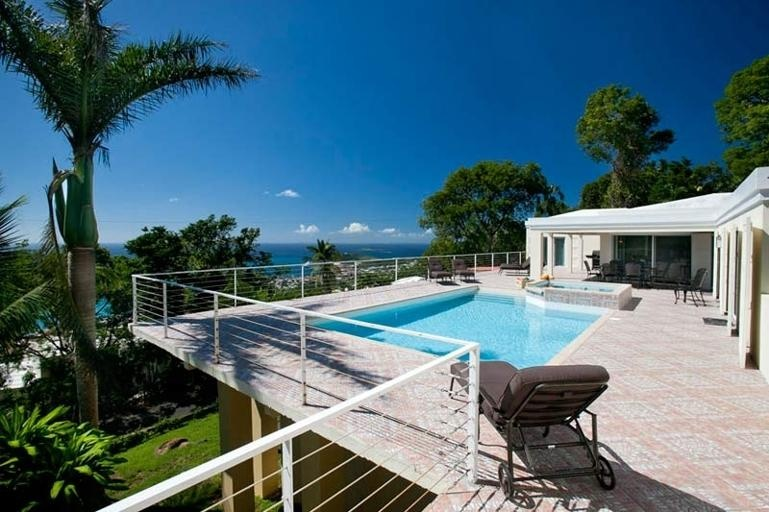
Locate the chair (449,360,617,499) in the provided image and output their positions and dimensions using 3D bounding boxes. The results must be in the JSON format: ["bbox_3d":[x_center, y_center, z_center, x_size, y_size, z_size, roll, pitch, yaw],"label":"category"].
[{"bbox_3d":[2.824,3.176,9.616,2.091,2.155,3.754,2,-2,-10],"label":"chair"}]
